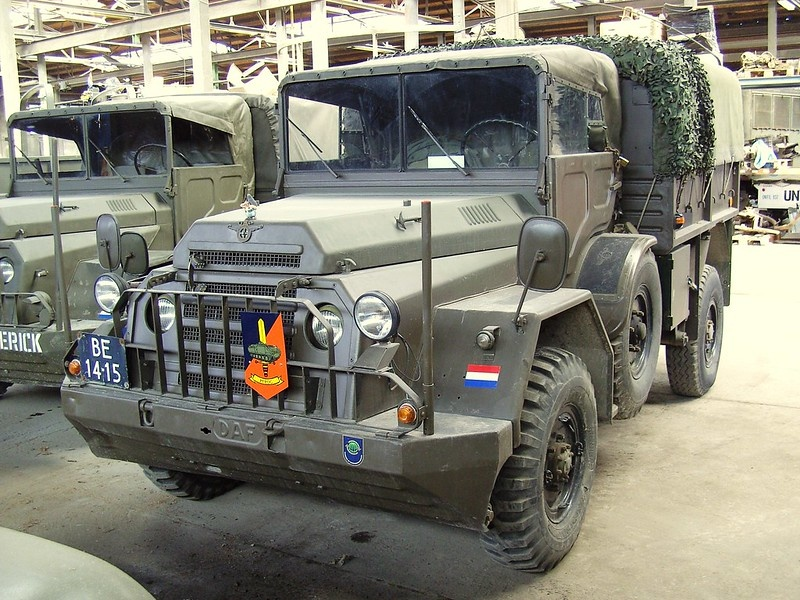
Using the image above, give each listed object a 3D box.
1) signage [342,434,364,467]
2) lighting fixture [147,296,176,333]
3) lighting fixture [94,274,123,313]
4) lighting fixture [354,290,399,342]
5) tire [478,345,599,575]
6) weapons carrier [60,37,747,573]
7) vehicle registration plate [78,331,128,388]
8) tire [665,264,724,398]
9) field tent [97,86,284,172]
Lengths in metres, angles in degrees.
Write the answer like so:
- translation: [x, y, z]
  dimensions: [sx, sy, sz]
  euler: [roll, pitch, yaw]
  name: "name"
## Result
- translation: [-0.234, 0.759, 3.733]
  dimensions: [0.138, 0.207, 0.042]
  euler: [0, 1, 32]
  name: "signage"
- translation: [-1.425, 0.082, 4.446]
  dimensions: [0.214, 0.253, 0.051]
  euler: [11, 8, 44]
  name: "lighting fixture"
- translation: [-1.865, -0.067, 4.754]
  dimensions: [0.204, 0.273, 0.061]
  euler: [22, 12, 20]
  name: "lighting fixture"
- translation: [-0.129, 0.063, 3.862]
  dimensions: [0.232, 0.302, 0.119]
  euler: [-1, 28, 18]
  name: "lighting fixture"
- translation: [0.905, 0.977, 4.581]
  dimensions: [0.348, 1.373, 1.187]
  euler: [5, 4, 37]
  name: "tire"
- translation: [0.607, -0.383, 6.157]
  dimensions: [2.827, 3.386, 5.625]
  euler: [3, 8, 29]
  name: "weapons carrier"
- translation: [-1.818, 0.364, 4.475]
  dimensions: [0.361, 0.324, 0.014]
  euler: [6, 15, 19]
  name: "vehicle registration plate"
- translation: [2.794, 0.305, 6.982]
  dimensions: [0.288, 1.144, 1.004]
  euler: [0, -10, 31]
  name: "tire"
- translation: [-2.354, -1.888, 8.290]
  dimensions: [1.067, 0.751, 1.202]
  euler: [2, 19, 8]
  name: "field tent"
